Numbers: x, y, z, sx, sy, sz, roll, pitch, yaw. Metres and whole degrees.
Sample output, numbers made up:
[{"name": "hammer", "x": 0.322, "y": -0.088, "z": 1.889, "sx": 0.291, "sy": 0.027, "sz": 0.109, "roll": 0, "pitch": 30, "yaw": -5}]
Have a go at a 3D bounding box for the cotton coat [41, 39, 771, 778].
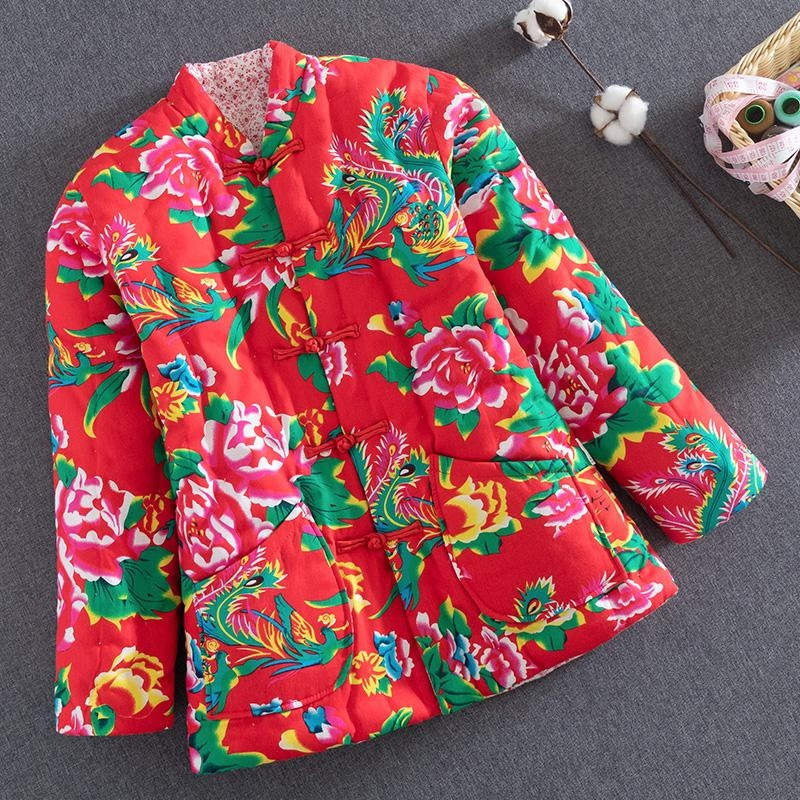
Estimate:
[{"name": "cotton coat", "x": -0.088, "y": -0.018, "z": 1.466, "sx": 1.080, "sy": 0.274, "sz": 1.040, "roll": -13, "pitch": 78, "yaw": -3}]
